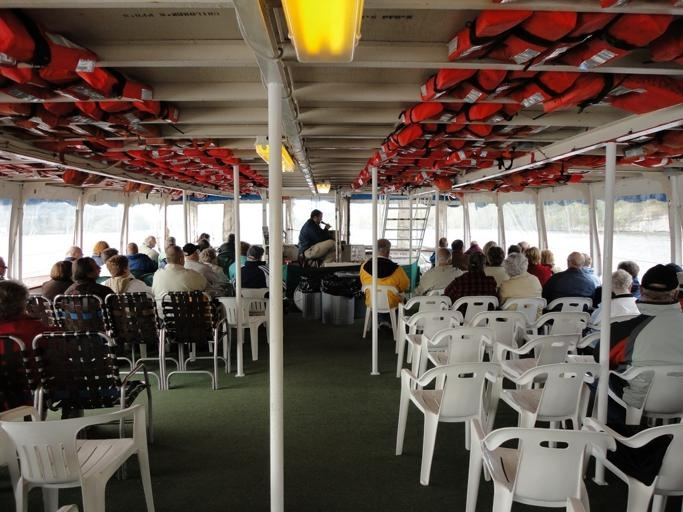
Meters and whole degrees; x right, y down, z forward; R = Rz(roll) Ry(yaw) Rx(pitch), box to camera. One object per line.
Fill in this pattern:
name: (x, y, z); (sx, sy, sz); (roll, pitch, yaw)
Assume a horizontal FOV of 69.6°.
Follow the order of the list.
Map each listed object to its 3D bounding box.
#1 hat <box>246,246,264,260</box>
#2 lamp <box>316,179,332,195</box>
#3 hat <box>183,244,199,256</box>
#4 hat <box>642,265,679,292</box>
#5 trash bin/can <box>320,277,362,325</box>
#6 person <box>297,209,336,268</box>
hat: (-1.488, -0.054, 8.620); (0.284, 0.265, 0.305); (1, 11, 1)
lamp: (-0.520, -1.988, 14.064); (0.644, 0.284, 0.545); (-1, -1, -3)
hat: (-2.613, -0.113, 8.517); (0.249, 0.135, 0.282); (4, 18, 6)
hat: (2.824, 0.188, 4.333); (0.244, 0.142, 0.323); (0, 3, 33)
trash bin/can: (0.005, 0.921, 10.423); (1.158, 0.992, 1.009); (-1, 4, -14)
person: (-0.621, -0.440, 12.722); (1.099, 1.329, 0.900); (-1, 11, 0)
